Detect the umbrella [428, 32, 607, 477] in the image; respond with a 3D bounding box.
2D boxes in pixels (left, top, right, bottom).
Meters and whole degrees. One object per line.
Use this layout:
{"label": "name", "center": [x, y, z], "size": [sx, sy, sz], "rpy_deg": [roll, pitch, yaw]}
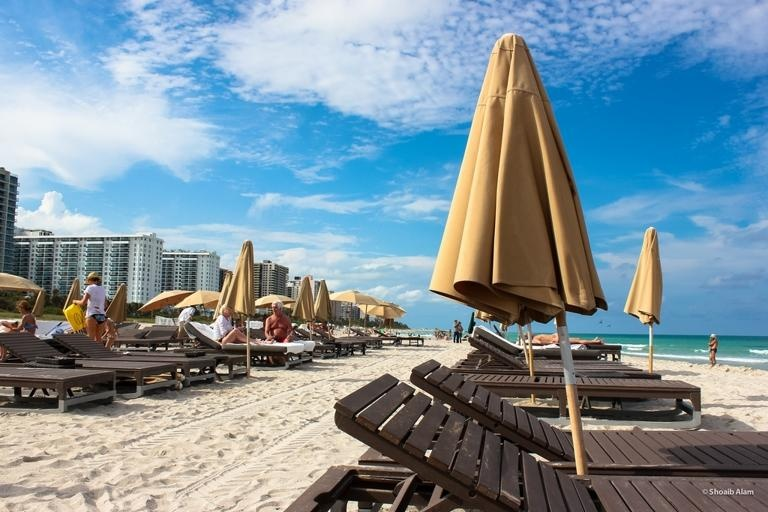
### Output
{"label": "umbrella", "center": [1.056, -0.233, 3.697], "size": [1.384, 3.258, 0.605], "rpy_deg": [2, -9, -5]}
